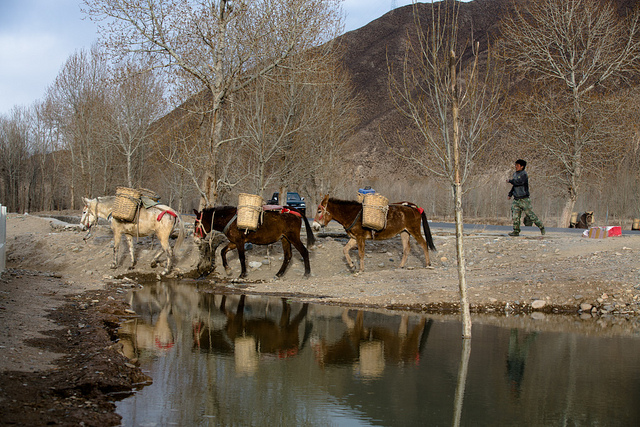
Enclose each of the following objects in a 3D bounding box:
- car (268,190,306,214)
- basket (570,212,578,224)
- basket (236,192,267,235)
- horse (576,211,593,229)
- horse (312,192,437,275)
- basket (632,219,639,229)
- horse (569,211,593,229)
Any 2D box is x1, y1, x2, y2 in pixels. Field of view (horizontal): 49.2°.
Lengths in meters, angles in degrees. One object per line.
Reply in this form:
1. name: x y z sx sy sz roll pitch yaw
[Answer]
1. car: -2.208 -1.113 52.621 1.720 1.628 3.244 0 -4 -15
2. basket: 14.806 0.217 40.796 0.432 0.792 0.449 1 -42 23
3. basket: -2.799 -0.078 27.054 1.228 1.599 1.078 9 6 -1
4. horse: 14.798 0.307 39.144 0.516 1.067 0.990 -7 15 -30
5. horse: 2.050 0.778 27.687 4.312 2.910 1.096 1 12 2
6. basket: 18.318 0.554 40.588 0.414 0.497 0.437 0 2 8
7. horse: 14.830 0.325 39.379 0.700 1.146 1.483 1 13 2
